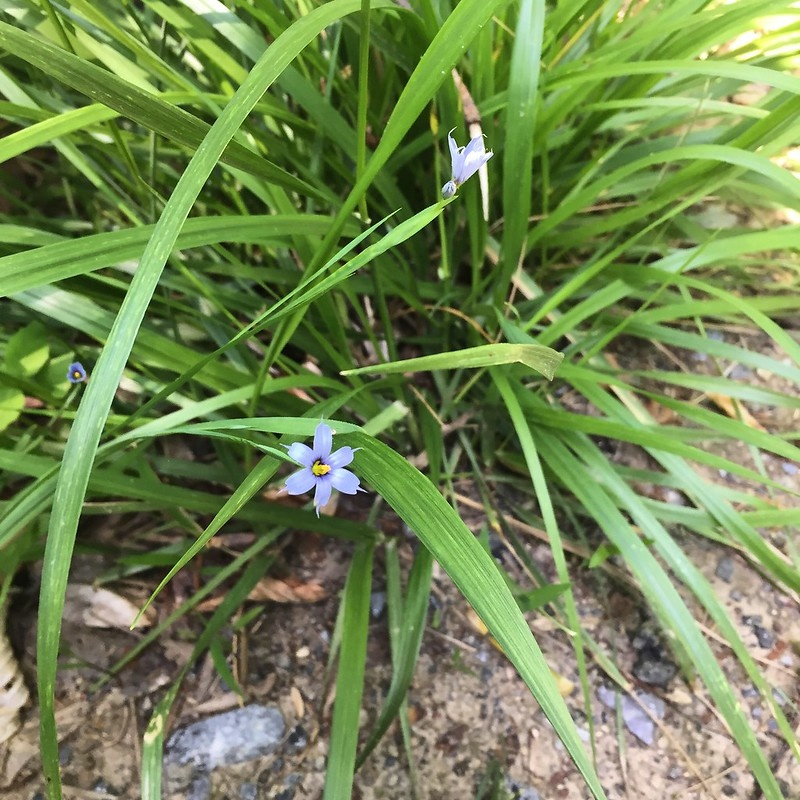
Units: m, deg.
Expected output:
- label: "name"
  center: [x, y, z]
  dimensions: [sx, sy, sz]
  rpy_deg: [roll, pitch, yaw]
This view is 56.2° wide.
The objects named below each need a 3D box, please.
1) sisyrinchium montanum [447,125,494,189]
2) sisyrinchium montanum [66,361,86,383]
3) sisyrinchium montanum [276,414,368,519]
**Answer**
- label: "sisyrinchium montanum"
  center: [0.105, -0.389, 1.232]
  dimensions: [0.073, 0.075, 0.080]
  rpy_deg: [13, 4, 17]
- label: "sisyrinchium montanum"
  center: [-0.708, -0.062, 1.640]
  dimensions: [0.052, 0.022, 0.045]
  rpy_deg: [-6, 90, -3]
- label: "sisyrinchium montanum"
  center: [-0.117, 0.097, 1.167]
  dimensions: [0.099, 0.117, 0.112]
  rpy_deg: [40, 50, 21]
